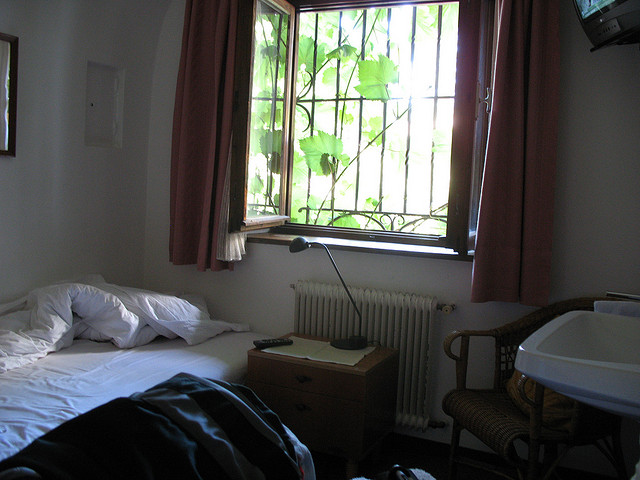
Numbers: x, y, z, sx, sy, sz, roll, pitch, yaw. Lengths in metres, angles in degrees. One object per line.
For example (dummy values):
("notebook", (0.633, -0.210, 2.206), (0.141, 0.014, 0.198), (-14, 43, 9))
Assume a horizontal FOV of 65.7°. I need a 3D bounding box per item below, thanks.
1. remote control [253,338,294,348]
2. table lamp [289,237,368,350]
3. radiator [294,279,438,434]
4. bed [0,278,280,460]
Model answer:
("remote control", (-0.276, 0.601, 2.910), (0.162, 0.024, 0.086), (1, -1, -23))
("table lamp", (0.075, 0.299, 3.057), (0.466, 0.636, 0.394), (3, 6, 6))
("radiator", (0.478, 0.740, 3.202), (0.128, 0.845, 0.843), (7, -4, -37))
("bed", (-1.184, 0.546, 2.796), (1.105, 0.518, 1.430), (7, 8, 37))
